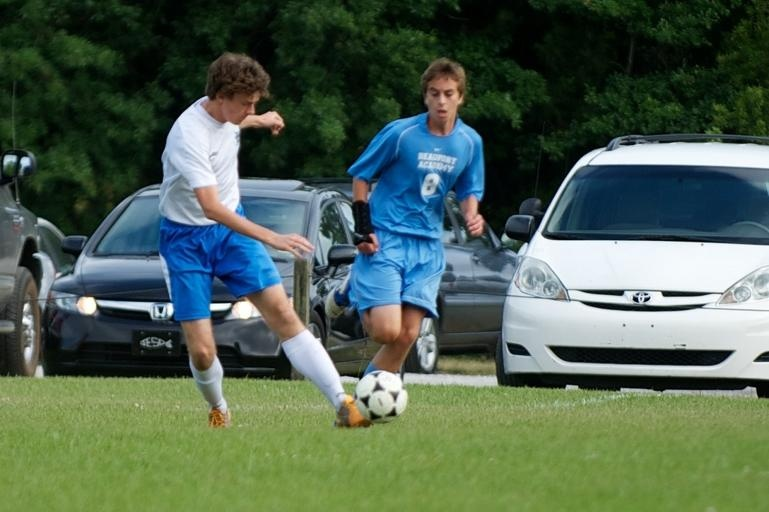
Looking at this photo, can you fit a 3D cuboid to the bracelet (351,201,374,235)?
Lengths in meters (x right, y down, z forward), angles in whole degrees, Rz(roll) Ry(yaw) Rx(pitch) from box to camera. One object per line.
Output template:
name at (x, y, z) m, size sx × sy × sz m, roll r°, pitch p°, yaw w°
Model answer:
bracelet at (-0.146, -0.360, 11.641) m, size 0.196 × 0.277 × 0.221 m, roll 0°, pitch -6°, yaw -35°

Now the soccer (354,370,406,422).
soccer at (-0.144, 1.201, 11.114) m, size 0.483 × 0.433 × 0.472 m, roll 10°, pitch 1°, yaw 16°

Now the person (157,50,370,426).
person at (-1.209, -0.113, 10.932) m, size 1.404 × 3.095 × 0.777 m, roll -2°, pitch 9°, yaw 3°

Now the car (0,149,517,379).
car at (-1.136, 0.173, 16.026) m, size 2.607 × 1.752 × 5.649 m, roll -1°, pitch -3°, yaw 28°
